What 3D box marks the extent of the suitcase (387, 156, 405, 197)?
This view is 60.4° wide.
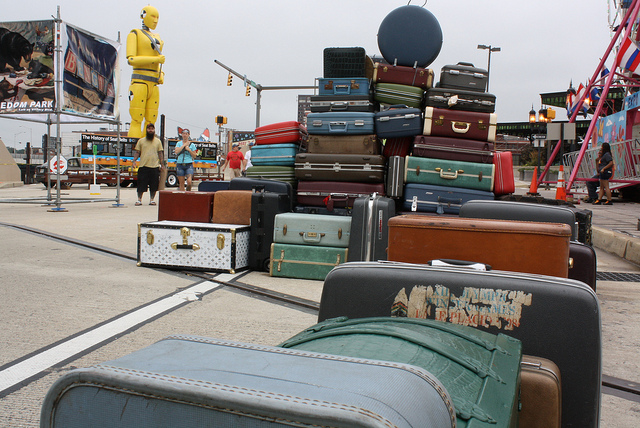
[{"bbox_3d":[1.062,-0.533,7.863,0.227,0.558,0.152,3,8,8],"label":"suitcase"}]

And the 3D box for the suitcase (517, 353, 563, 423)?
[{"bbox_3d":[1.052,0.832,2.655,0.197,0.325,0.424,5,8,23],"label":"suitcase"}]

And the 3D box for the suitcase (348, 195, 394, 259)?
[{"bbox_3d":[0.561,0.154,6.289,0.477,0.706,0.282,2,8,6],"label":"suitcase"}]

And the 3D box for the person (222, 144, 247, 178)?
[{"bbox_3d":[-2.682,-1.504,17.002,0.645,1.384,0.644,-2,-9,6],"label":"person"}]

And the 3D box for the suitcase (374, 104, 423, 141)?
[{"bbox_3d":[1.164,-1.329,8.222,0.687,0.521,0.564,-5,-6,6],"label":"suitcase"}]

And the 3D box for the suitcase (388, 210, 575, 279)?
[{"bbox_3d":[1.016,0.193,3.644,1.060,0.439,0.980,4,5,9],"label":"suitcase"}]

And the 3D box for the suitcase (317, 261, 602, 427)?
[{"bbox_3d":[0.670,0.614,2.569,0.793,0.657,0.272,0,-3,11],"label":"suitcase"}]

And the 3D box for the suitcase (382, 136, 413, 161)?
[{"bbox_3d":[1.150,-0.981,8.227,0.268,0.423,0.160,12,-23,10],"label":"suitcase"}]

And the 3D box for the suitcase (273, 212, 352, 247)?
[{"bbox_3d":[-0.049,0.218,6.779,0.971,0.417,0.798,4,1,16],"label":"suitcase"}]

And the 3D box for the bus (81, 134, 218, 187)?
[{"bbox_3d":[-9.262,-2.935,31.142,7.293,2.841,1.717,1,3,-1],"label":"bus"}]

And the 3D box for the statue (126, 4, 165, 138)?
[{"bbox_3d":[-5.842,-4.670,18.469,1.084,4.086,2.120,-1,8,-18],"label":"statue"}]

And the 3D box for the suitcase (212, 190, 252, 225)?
[{"bbox_3d":[-1.098,-0.062,7.153,0.504,0.424,0.301,2,-2,6],"label":"suitcase"}]

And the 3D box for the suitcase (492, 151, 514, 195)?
[{"bbox_3d":[2.616,-0.593,7.947,0.310,0.595,0.360,4,8,21],"label":"suitcase"}]
